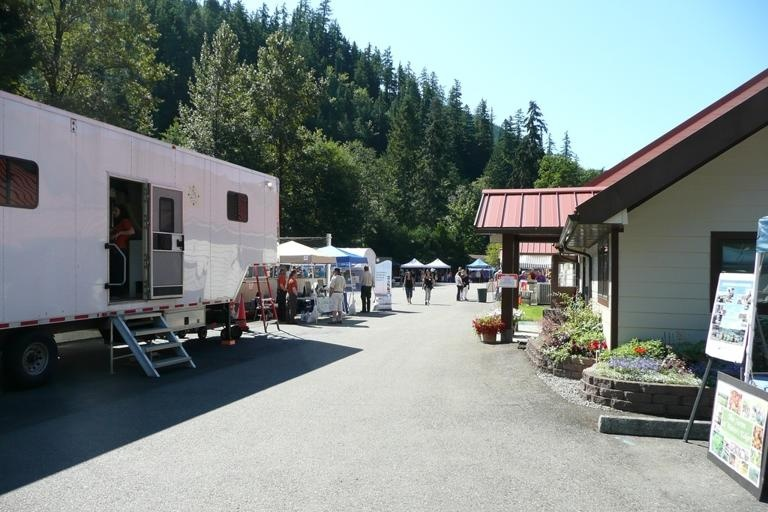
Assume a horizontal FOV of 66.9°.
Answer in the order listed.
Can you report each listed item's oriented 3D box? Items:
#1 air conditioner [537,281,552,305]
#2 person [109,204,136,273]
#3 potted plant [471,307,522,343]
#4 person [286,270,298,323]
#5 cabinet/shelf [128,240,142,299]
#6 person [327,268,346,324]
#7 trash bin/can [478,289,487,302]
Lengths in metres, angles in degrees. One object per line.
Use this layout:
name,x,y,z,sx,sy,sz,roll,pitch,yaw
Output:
air conditioner,8.733,2.104,31.716,0.749,1.549,1.010,0,2,14
person,-6.201,-0.450,13.765,0.517,1.168,0.987,1,-1,-25
potted plant,3.286,2.106,17.479,0.971,0.872,1.106,-3,-2,9
person,-3.465,1.550,21.741,0.328,1.893,0.521,1,-1,-11
cabinet/shelf,-5.764,0.297,13.500,0.232,0.937,0.533,1,-1,-39
person,-1.795,1.481,22.076,0.576,2.017,0.875,1,-1,-6
trash bin/can,5.965,2.432,35.317,0.622,0.889,0.688,-4,-6,37
